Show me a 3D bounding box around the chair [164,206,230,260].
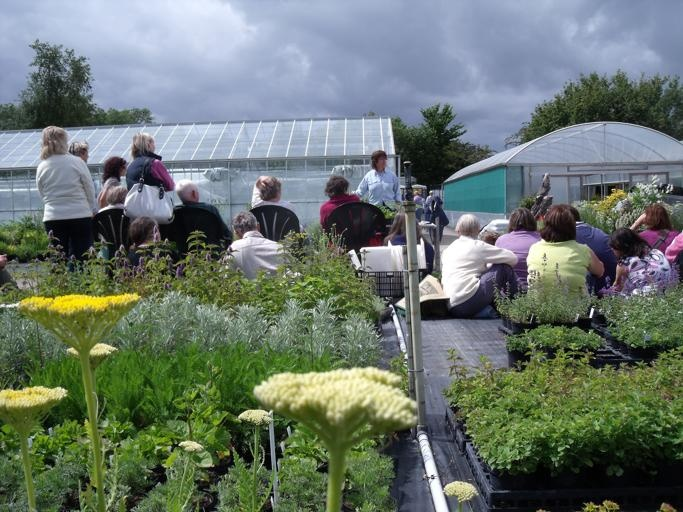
[{"bbox_3d":[-1.536,-0.255,6.823,0.465,0.500,0.268,0,13,3],"label":"chair"}]

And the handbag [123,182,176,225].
[{"bbox_3d":[-2.123,-0.584,7.177,0.450,0.496,0.192,6,0,2],"label":"handbag"}]

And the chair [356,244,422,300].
[{"bbox_3d":[0.442,0.110,6.783,0.861,0.672,0.512,-1,-5,-8],"label":"chair"}]
